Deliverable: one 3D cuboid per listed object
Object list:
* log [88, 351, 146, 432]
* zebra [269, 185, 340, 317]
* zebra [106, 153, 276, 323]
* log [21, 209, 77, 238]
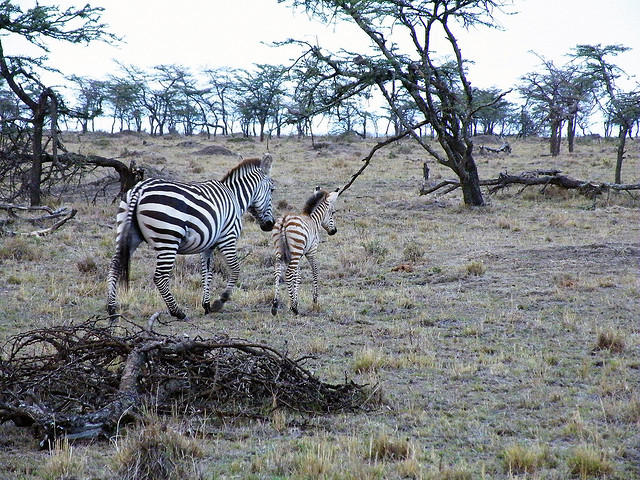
[{"bbox_3d":[-3.403,2.581,15.064,0.542,1.274,1.064,1,3,30],"label":"log"},{"bbox_3d":[-0.374,0.203,21.031,0.901,2.623,3.368,5,10,19],"label":"zebra"},{"bbox_3d":[-2.637,-0.142,19.715,1.411,3.585,4.941,11,11,37],"label":"zebra"},{"bbox_3d":[-7.065,-0.393,23.479,1.255,0.781,1.022,2,10,13],"label":"log"}]
